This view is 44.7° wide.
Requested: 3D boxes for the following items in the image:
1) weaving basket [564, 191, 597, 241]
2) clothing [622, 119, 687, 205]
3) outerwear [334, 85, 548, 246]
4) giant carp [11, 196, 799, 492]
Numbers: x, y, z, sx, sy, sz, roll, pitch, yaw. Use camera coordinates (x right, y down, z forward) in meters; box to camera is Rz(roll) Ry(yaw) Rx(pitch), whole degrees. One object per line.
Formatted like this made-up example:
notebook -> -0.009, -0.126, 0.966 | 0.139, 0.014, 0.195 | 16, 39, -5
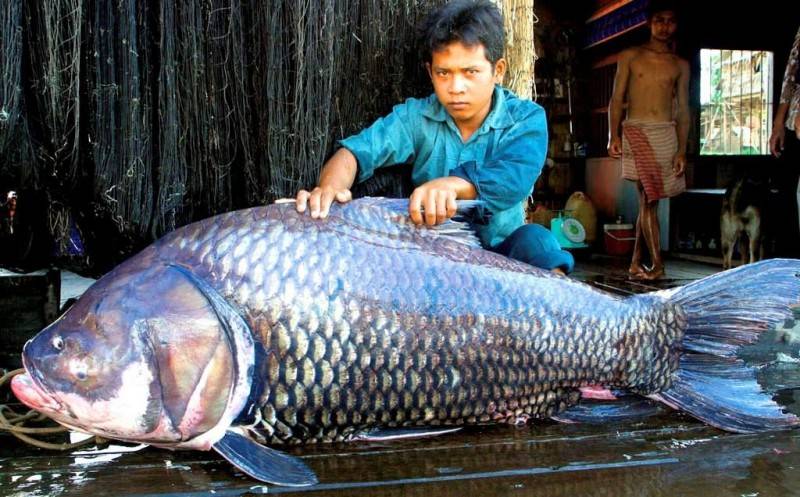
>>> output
weaving basket -> 1.990, -0.319, 10.483 | 0.362, 0.607, 0.391 | -3, 11, 33
clothing -> 2.099, -0.763, 8.040 | 0.479, 0.692, 0.372 | 0, -5, -18
outerwear -> 0.177, -0.293, 4.717 | 0.861, 0.918, 0.998 | 1, 5, 16
giant carp -> -0.026, 0.383, 4.001 | 2.991, 1.116, 0.550 | 7, 9, 0
